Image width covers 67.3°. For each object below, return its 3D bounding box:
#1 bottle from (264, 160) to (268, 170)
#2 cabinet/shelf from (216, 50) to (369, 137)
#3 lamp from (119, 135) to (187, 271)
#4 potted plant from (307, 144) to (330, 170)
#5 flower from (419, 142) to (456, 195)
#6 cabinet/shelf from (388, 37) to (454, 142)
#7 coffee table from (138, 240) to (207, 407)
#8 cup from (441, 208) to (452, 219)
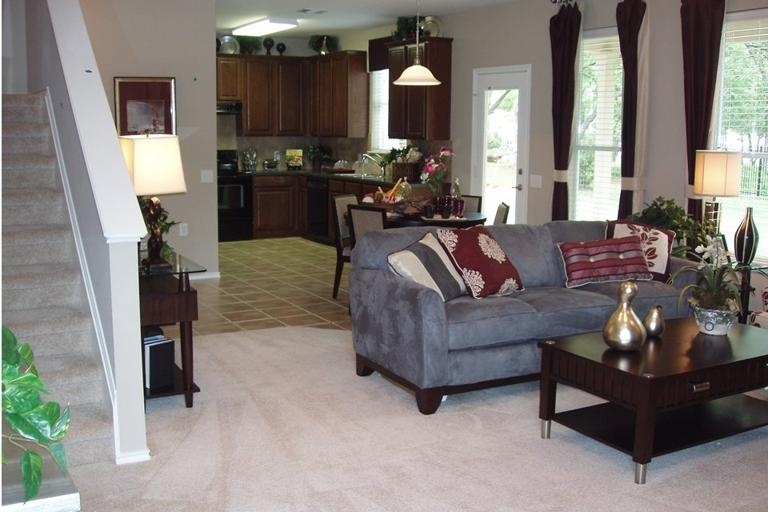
[{"bbox_3d":[-2.174,-1.675,10.535,0.114,0.150,0.026,7,15,23],"label":"bottle"},{"bbox_3d":[-1.537,-2.837,10.101,2.549,1.418,0.889,1,14,2],"label":"cabinet/shelf"},{"bbox_3d":[-1.678,-0.412,4.159,0.539,0.854,0.493,-1,13,-5],"label":"lamp"},{"bbox_3d":[-1.203,-1.864,10.922,0.515,0.496,0.505,0,9,9],"label":"potted plant"},{"bbox_3d":[0.565,-0.915,6.298,0.361,0.541,0.392,9,15,29],"label":"flower"},{"bbox_3d":[0.568,-2.421,8.253,0.651,1.739,1.564,-2,4,-18],"label":"cabinet/shelf"},{"bbox_3d":[-1.530,0.526,4.115,0.406,0.896,1.095,-4,12,-21],"label":"coffee table"},{"bbox_3d":[0.638,-0.446,5.934,0.103,0.088,0.073,1,13,1],"label":"cup"}]
